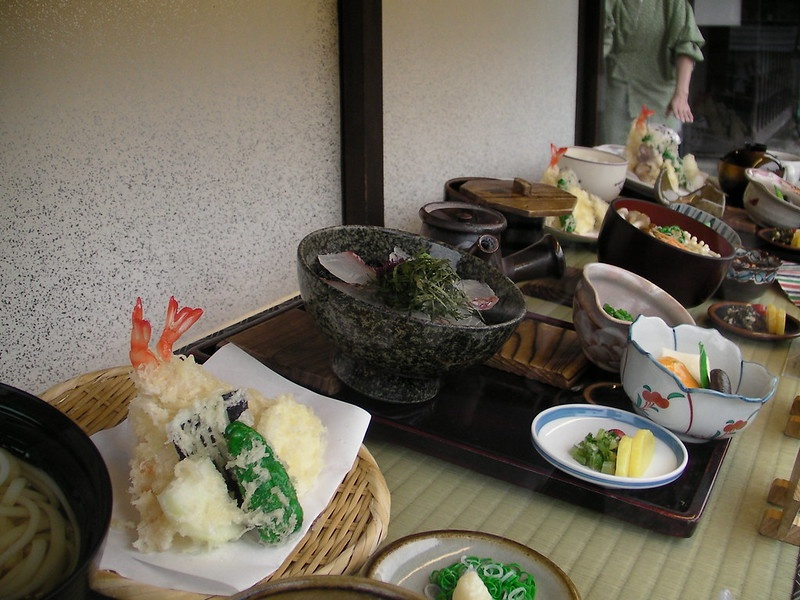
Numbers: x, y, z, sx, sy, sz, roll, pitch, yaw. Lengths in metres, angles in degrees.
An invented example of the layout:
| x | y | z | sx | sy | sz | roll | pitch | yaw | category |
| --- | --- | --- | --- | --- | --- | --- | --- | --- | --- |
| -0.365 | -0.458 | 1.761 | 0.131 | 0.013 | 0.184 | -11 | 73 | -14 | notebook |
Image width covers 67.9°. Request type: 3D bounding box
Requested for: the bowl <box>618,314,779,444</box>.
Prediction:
| x | y | z | sx | sy | sz | roll | pitch | yaw | category |
| --- | --- | --- | --- | --- | --- | --- | --- | --- | --- |
| 0.450 | 0.134 | 0.902 | 0.224 | 0.108 | 0.203 | 6 | 26 | -12 | bowl |

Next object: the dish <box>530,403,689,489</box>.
| x | y | z | sx | sy | sz | roll | pitch | yaw | category |
| --- | --- | --- | --- | --- | --- | --- | --- | --- | --- |
| 0.287 | 0.203 | 0.828 | 0.202 | 0.055 | 0.153 | 8 | 34 | 18 | dish |

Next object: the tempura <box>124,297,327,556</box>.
| x | y | z | sx | sy | sz | roll | pitch | yaw | category |
| --- | --- | --- | --- | --- | --- | --- | --- | --- | --- |
| -0.194 | 0.104 | 0.660 | 0.199 | 0.286 | 0.129 | -1 | -11 | -30 | tempura |

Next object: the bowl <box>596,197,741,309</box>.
| x | y | z | sx | sy | sz | roll | pitch | yaw | category |
| --- | --- | --- | --- | --- | --- | --- | --- | --- | --- |
| 0.543 | -0.092 | 1.328 | 0.266 | 0.161 | 0.276 | 26 | 16 | -8 | bowl |

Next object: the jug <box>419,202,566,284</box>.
| x | y | z | sx | sy | sz | roll | pitch | yaw | category |
| --- | --- | --- | --- | --- | --- | --- | --- | --- | --- |
| 0.183 | -0.115 | 1.235 | 0.299 | 0.117 | 0.184 | 23 | 30 | 13 | jug |
